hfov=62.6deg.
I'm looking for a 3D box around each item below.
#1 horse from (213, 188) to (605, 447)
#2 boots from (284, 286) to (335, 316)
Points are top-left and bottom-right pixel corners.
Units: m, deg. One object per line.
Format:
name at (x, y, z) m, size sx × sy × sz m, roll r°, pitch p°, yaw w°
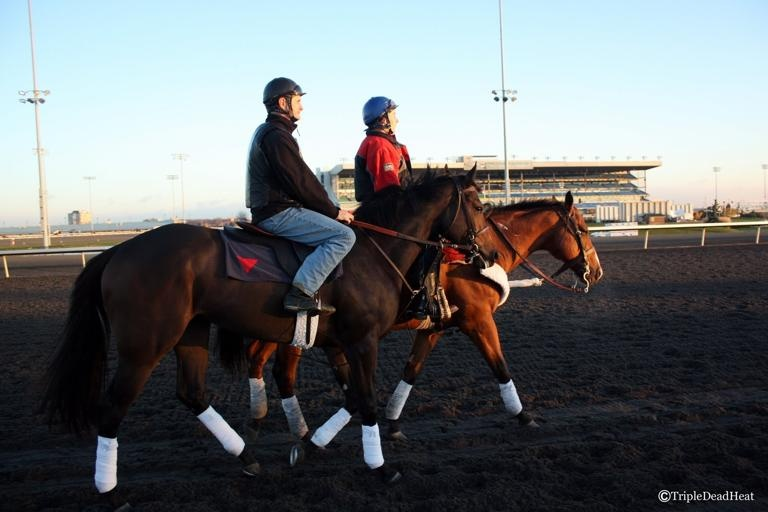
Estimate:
horse at (0.339, 0.683, 6.529) m, size 4.419 × 2.448 × 0.967 m, roll -2°, pitch 11°, yaw -28°
boots at (-0.643, 0.361, 5.152) m, size 0.438 × 0.183 × 0.161 m, roll 0°, pitch 2°, yaw -24°
